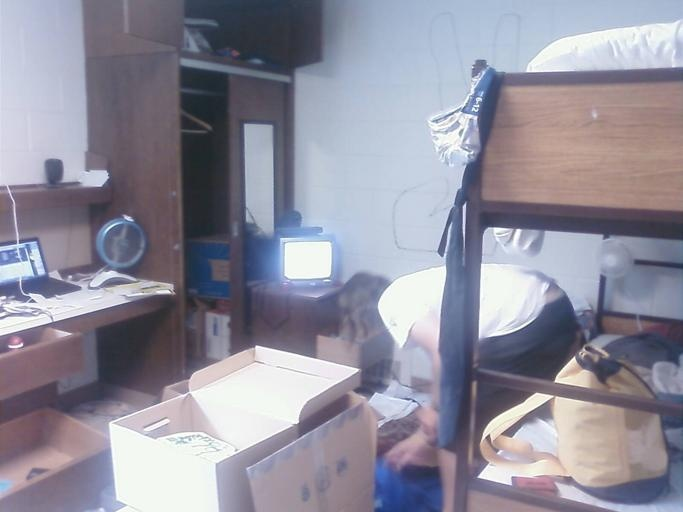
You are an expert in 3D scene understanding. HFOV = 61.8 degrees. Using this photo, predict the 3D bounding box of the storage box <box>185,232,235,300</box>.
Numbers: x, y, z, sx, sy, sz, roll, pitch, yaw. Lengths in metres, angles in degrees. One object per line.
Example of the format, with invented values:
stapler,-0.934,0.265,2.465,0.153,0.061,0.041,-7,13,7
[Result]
storage box,-0.850,0.063,3.690,0.338,0.365,0.358,5,8,34

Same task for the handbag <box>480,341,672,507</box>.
handbag,0.738,0.517,1.965,0.596,0.435,0.436,-4,10,17

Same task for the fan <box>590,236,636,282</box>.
fan,1.482,0.018,3.101,0.046,0.238,0.217,5,-6,-45

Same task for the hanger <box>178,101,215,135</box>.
hanger,-0.949,-0.889,3.799,0.238,0.086,0.332,-12,6,-23

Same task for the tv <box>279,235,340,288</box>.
tv,-0.228,-0.023,3.731,0.481,0.429,0.266,-1,6,-11

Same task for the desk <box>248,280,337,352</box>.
desk,-0.299,0.342,3.747,0.610,0.604,0.405,4,6,23
